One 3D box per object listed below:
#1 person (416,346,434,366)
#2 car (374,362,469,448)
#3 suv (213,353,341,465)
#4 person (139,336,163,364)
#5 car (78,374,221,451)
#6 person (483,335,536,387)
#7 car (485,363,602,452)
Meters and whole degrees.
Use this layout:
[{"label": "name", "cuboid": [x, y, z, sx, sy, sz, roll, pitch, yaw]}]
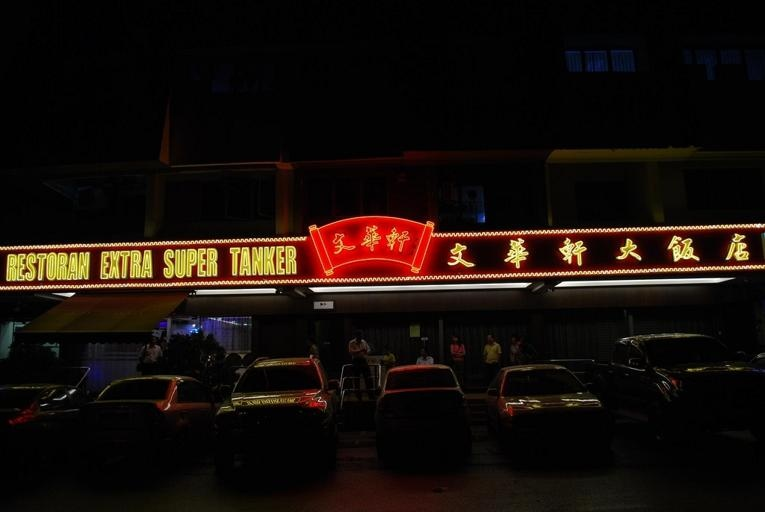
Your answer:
[{"label": "person", "cuboid": [1.507, 3.680, 26.285, 0.674, 0.705, 0.404, -11, -26, 28]}, {"label": "car", "cuboid": [1.137, 4.289, 20.356, 2.556, 2.186, 1.917, -2, -4, 5]}, {"label": "suv", "cuboid": [-2.832, 4.193, 19.420, 2.030, 1.826, 3.898, -3, -18, 0]}, {"label": "person", "cuboid": [-8.069, 3.280, 25.173, 0.783, 0.903, 0.933, 0, -4, -32]}, {"label": "car", "cuboid": [-6.669, 4.613, 20.416, 3.422, 2.202, 2.188, -1, -4, -19]}, {"label": "person", "cuboid": [4.536, 3.787, 26.401, 1.414, 1.093, 2.317, 1, -20, -8]}, {"label": "car", "cuboid": [4.722, 4.439, 20.781, 2.850, 2.373, 2.676, -2, -4, -5]}]
